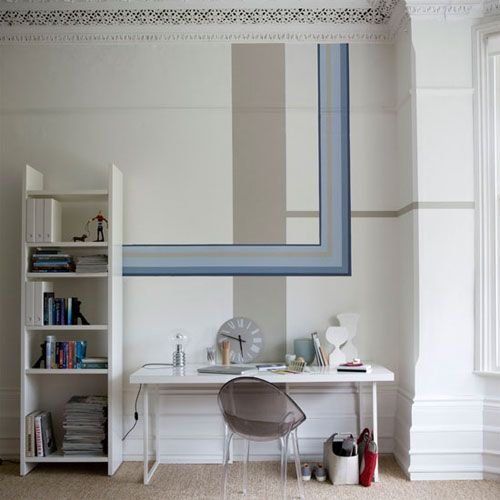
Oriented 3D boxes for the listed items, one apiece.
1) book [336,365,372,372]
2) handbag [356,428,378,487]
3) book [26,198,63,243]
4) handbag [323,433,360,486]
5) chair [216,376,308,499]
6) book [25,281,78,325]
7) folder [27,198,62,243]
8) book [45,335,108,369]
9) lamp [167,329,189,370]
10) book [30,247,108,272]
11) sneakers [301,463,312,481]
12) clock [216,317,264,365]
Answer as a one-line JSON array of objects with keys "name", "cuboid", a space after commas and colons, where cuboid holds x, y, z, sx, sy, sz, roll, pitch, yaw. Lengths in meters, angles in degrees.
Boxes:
[{"name": "book", "cuboid": [0.726, 0.823, 4.143, 0.231, 0.035, 0.147, -4, 1, 4]}, {"name": "handbag", "cuboid": [0.800, 1.429, 4.056, 0.087, 0.339, 0.299, 3, 5, 5]}, {"name": "book", "cuboid": [-1.487, -0.164, 4.390, 0.221, 0.371, 0.337, 0, -6, -5]}, {"name": "handbag", "cuboid": [0.644, 1.431, 4.185, 0.181, 0.331, 0.327, 1, 0, -9]}, {"name": "chair", "cuboid": [0.071, 1.194, 3.832, 0.522, 0.641, 0.660, -3, 1, -3]}, {"name": "book", "cuboid": [-1.494, 0.368, 4.415, 0.234, 0.400, 0.364, 0, -2, -4]}, {"name": "folder", "cuboid": [-1.480, -0.202, 4.295, 0.236, 0.417, 0.263, 0, -3, -3]}, {"name": "book", "cuboid": [-1.247, 0.735, 4.281, 0.470, 0.233, 0.132, -4, 1, -2]}, {"name": "lamp", "cuboid": [-0.509, 0.729, 4.318, 0.167, 0.417, 0.183, 0, -8, 10]}, {"name": "book", "cuboid": [-1.325, 0.074, 4.372, 0.561, 0.188, 0.365, -5, 1, -14]}, {"name": "sneakers", "cuboid": [0.402, 1.552, 4.178, 0.041, 0.056, 0.128, 2, 0, -1]}, {"name": "clock", "cuboid": [-0.071, 0.693, 4.519, 0.339, 0.427, 0.052, 0, 28, -5]}]
